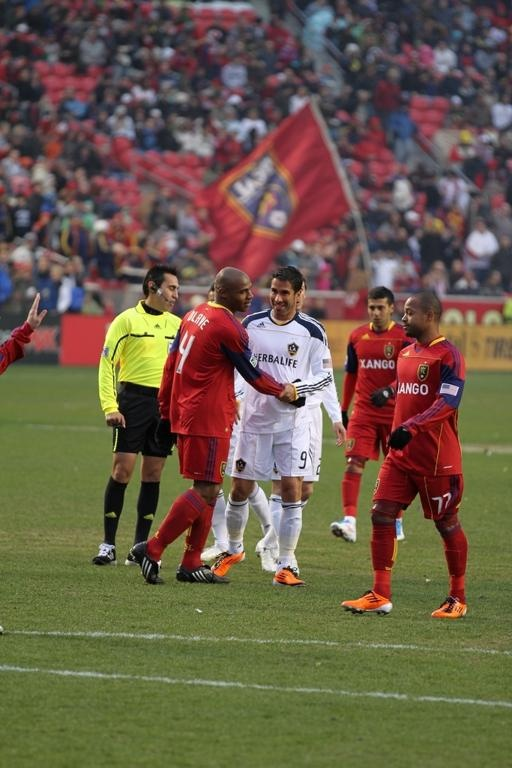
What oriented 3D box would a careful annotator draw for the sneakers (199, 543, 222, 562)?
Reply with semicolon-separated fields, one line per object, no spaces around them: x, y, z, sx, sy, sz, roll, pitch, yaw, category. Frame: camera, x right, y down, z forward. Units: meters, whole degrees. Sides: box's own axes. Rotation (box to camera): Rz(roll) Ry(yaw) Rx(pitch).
-0.269;1.009;6.900;0.059;0.062;0.149;-18;-1;17;sneakers

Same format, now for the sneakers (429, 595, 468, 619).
0.922;1.060;5.497;0.204;0.083;0.071;6;4;-41;sneakers

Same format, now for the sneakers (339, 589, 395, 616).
0.531;1.036;5.532;0.272;0.108;0.090;4;-15;-4;sneakers

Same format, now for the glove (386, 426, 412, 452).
0.654;0.248;5.297;0.099;0.107;0.034;5;-1;26;glove

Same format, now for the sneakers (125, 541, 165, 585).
-0.584;0.910;5.962;0.145;0.286;0.095;-15;36;18;sneakers

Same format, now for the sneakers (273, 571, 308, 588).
0.180;1.016;6.068;0.157;0.054;0.070;-1;0;3;sneakers

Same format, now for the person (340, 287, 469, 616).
0.792;0.341;5.558;0.586;1.518;0.609;6;13;8;person

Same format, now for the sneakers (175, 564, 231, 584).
-0.291;0.997;6.123;0.302;0.095;0.095;4;-5;-5;sneakers

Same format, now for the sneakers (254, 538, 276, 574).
0.062;0.989;6.651;0.086;0.086;0.199;-4;40;-11;sneakers

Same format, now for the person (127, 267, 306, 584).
-0.253;0.318;6.002;0.779;1.438;0.621;8;13;17;person

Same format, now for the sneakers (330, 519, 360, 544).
0.528;0.884;7.092;0.095;0.118;0.241;-17;-34;13;sneakers
